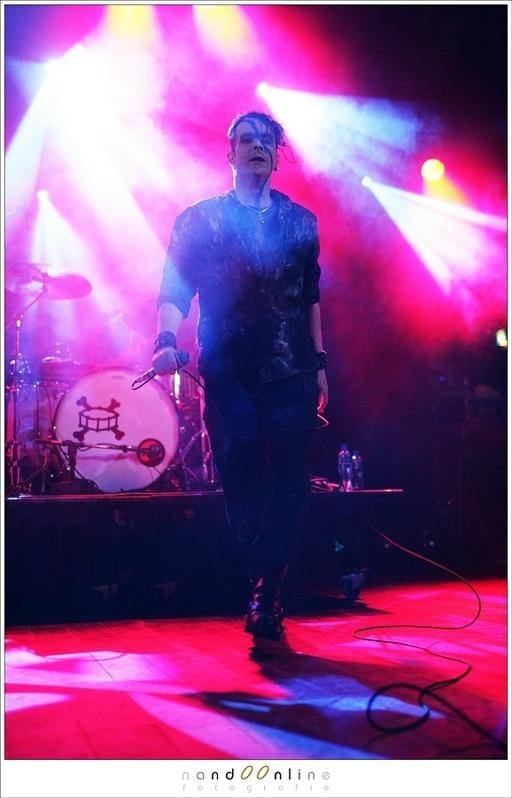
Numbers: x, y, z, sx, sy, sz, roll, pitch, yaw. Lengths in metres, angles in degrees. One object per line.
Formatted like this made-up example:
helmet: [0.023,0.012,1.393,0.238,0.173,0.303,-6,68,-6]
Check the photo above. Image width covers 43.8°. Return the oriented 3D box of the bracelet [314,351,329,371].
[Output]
bracelet: [0.208,-0.133,2.131,0.056,0.073,0.058,-4,-6,26]

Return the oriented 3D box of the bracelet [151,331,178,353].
bracelet: [-0.277,-0.175,1.947,0.054,0.055,0.063,-9,-11,9]

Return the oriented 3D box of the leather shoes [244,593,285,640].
leather shoes: [0.028,0.710,2.067,0.083,0.091,0.158,5,-22,4]

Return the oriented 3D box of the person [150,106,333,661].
person: [-0.044,0.039,2.078,0.569,1.480,0.318,0,3,-9]

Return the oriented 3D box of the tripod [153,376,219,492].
tripod: [-0.433,0.290,4.611,0.431,0.879,0.721,-3,0,45]
